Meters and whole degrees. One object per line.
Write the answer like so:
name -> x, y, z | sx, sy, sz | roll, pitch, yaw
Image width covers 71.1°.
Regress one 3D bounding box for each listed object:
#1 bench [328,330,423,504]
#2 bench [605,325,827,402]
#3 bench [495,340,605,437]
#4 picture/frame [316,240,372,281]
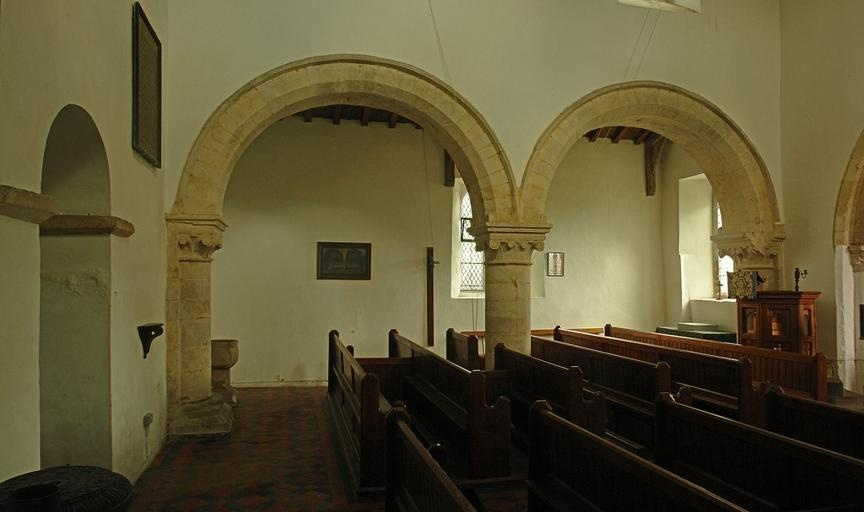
bench -> -0.928, 1.716, 8.202 | 0.685, 0.857, 2.349 | 12, 6, -22
bench -> 4.529, 2.098, 11.407 | 0.630, 1.005, 4.074 | -4, 2, -16
bench -> 1.539, 1.904, 8.421 | 0.620, 1.120, 2.740 | 1, -1, -11
picture/frame -> -1.927, 0.103, 12.912 | 0.850, 0.624, 0.036 | 1, -6, -13
